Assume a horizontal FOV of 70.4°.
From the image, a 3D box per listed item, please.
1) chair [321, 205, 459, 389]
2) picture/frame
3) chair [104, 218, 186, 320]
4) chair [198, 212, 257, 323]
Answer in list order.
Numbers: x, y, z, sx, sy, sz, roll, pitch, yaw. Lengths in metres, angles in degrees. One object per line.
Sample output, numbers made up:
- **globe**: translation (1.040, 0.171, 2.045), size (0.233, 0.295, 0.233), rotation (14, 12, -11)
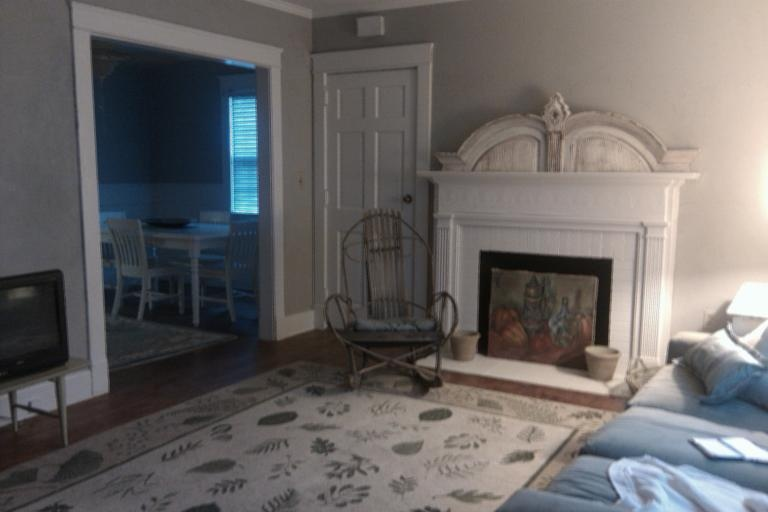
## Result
- **chair**: translation (0.021, 0.371, 4.893), size (1.057, 1.455, 1.116), rotation (-2, 1, -3)
- **picture/frame**: translation (1.504, 0.502, 4.933), size (1.105, 0.883, 0.160), rotation (2, 2, 24)
- **chair**: translation (-2.964, 0.073, 6.681), size (0.806, 1.229, 1.663), rotation (-6, 14, -25)
- **chair**: translation (-1.984, 0.135, 6.435), size (0.787, 1.027, 0.748), rotation (4, 7, 22)
